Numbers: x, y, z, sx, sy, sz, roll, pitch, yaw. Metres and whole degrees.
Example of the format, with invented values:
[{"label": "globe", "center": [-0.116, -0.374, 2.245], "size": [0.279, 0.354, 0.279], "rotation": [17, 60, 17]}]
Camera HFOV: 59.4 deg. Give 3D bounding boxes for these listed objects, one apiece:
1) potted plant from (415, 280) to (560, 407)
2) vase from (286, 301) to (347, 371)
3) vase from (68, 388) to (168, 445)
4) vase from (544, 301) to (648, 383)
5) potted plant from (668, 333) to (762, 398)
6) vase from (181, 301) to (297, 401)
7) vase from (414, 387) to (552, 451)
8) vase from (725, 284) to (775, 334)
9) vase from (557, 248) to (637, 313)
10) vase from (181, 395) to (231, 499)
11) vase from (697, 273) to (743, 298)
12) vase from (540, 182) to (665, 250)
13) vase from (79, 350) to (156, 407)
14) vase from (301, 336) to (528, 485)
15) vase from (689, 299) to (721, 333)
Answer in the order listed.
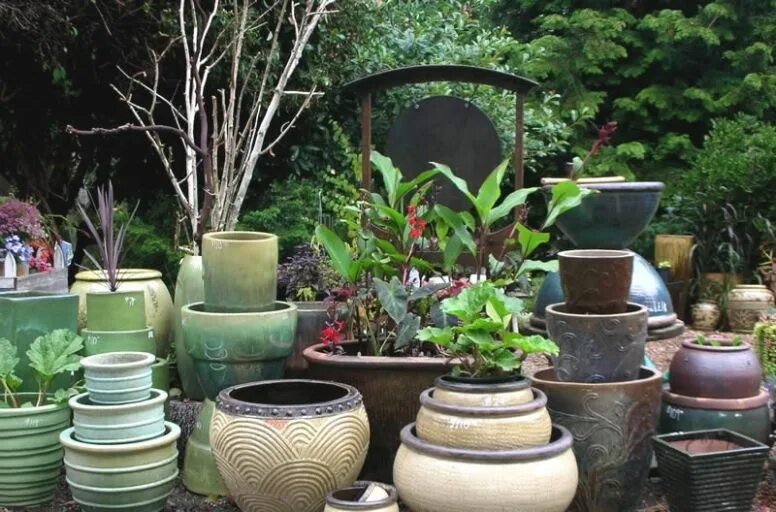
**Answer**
[{"label": "potted plant", "center": [0.506, 0.439, 3.742], "size": [0.639, 0.492, 0.659], "rotation": [0, -2, -9]}, {"label": "vase", "center": [-0.512, 0.554, 4.737], "size": [0.418, 0.339, 0.442], "rotation": [1, -4, -1]}, {"label": "vase", "center": [-1.465, 0.916, 3.752], "size": [0.319, 0.123, 0.303], "rotation": [1, -2, -45]}, {"label": "vase", "center": [1.196, 0.482, 3.886], "size": [0.448, 0.353, 0.448], "rotation": [-1, 0, -35]}, {"label": "potted plant", "center": [1.904, 0.669, 3.946], "size": [0.354, 0.237, 0.371], "rotation": [1, -1, 7]}, {"label": "vase", "center": [-0.849, 0.536, 4.512], "size": [0.502, 0.413, 0.525], "rotation": [-1, 8, -4]}, {"label": "vase", "center": [0.502, 0.863, 3.516], "size": [0.349, 0.200, 0.367], "rotation": [3, -6, -11]}, {"label": "vase", "center": [3.748, 0.519, 7.248], "size": [0.587, 0.613, 0.585], "rotation": [2, -1, 13]}, {"label": "vase", "center": [1.227, 0.118, 3.956], "size": [0.355, 0.284, 0.363], "rotation": [0, 3, 37]}, {"label": "vase", "center": [-1.075, 1.149, 4.242], "size": [0.377, 0.553, 0.389], "rotation": [6, 12, -7]}, {"label": "vase", "center": [3.637, 0.313, 7.465], "size": [0.310, 0.242, 0.326], "rotation": [1, 0, 8]}, {"label": "vase", "center": [1.910, -0.335, 5.840], "size": [0.708, 0.470, 0.723], "rotation": [-2, 0, 42]}, {"label": "vase", "center": [-1.542, 0.709, 3.900], "size": [0.395, 0.264, 0.405], "rotation": [0, 5, -20]}, {"label": "vase", "center": [-0.043, 0.932, 4.244], "size": [0.745, 0.601, 0.783], "rotation": [1, -2, 15]}, {"label": "vase", "center": [3.414, 0.653, 7.286], "size": [0.282, 0.297, 0.296], "rotation": [3, -5, 1]}]
